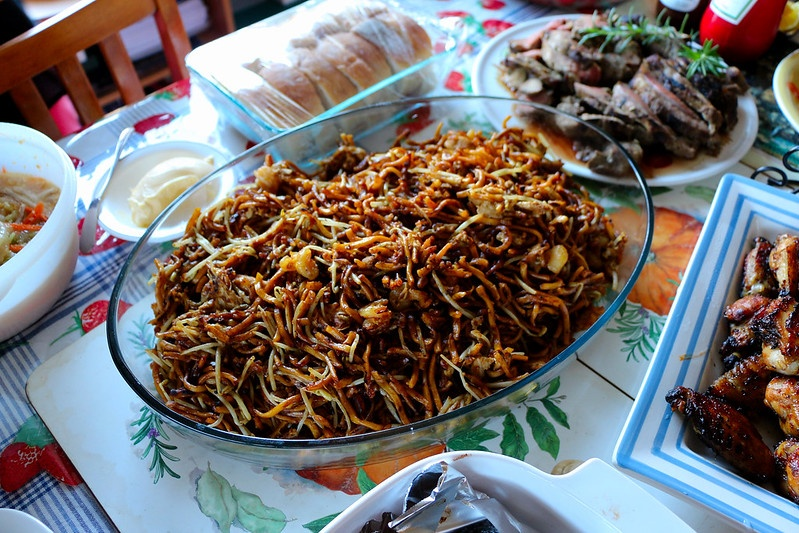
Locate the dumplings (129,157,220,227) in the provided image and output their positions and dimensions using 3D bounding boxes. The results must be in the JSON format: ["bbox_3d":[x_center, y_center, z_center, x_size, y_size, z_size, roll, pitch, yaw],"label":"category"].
[{"bbox_3d":[-0.699,-0.228,2.134,0.255,0.088,0.187,-39,52,-7],"label":"dumplings"}]
